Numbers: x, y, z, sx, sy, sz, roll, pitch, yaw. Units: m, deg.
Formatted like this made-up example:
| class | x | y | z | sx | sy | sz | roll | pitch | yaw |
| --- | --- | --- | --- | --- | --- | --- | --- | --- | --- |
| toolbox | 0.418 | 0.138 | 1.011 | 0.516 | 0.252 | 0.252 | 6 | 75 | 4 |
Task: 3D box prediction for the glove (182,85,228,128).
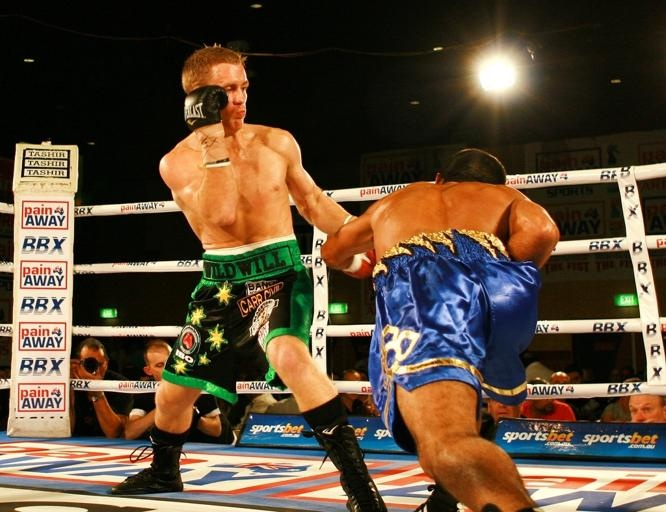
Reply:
| class | x | y | z | sx | sy | sz | roll | pitch | yaw |
| --- | --- | --- | --- | --- | --- | --- | --- | --- | --- |
| glove | -0.640 | -0.761 | 3.827 | 0.274 | 0.196 | 0.192 | -3 | 6 | -16 |
